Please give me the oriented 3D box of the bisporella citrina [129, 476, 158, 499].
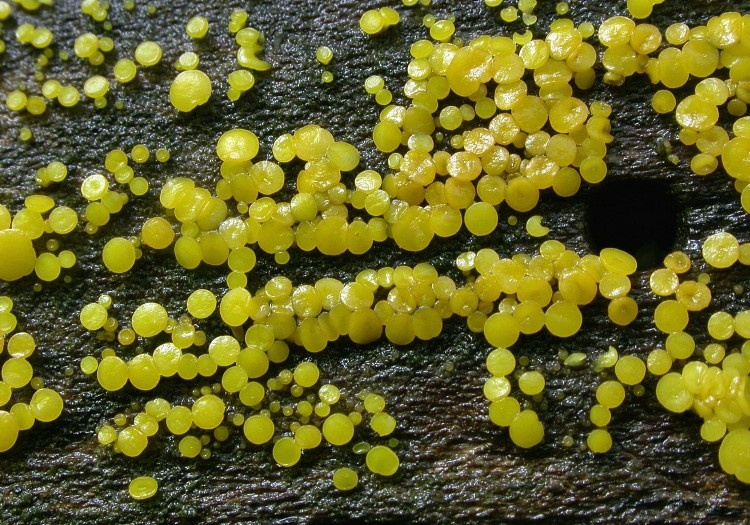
[{"bbox_3d":[-0.952,0.921,4.032,0.115,0.028,0.091,-1,76,-1],"label":"bisporella citrina"}]
